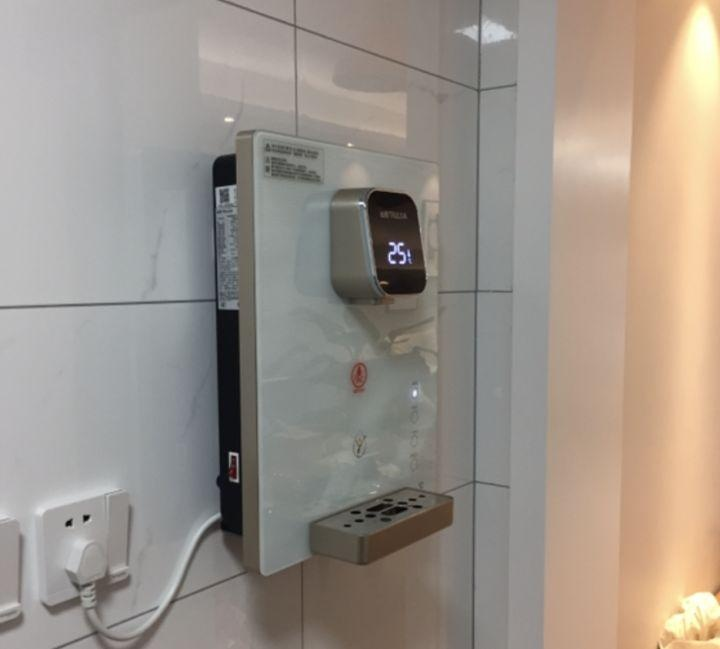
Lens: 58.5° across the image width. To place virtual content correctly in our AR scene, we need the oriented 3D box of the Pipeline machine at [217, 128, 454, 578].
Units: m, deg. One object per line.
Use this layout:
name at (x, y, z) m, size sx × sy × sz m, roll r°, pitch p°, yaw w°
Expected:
Pipeline machine at (0.003, 0.025, 0.833) m, size 0.160 × 0.503 × 0.379 m, roll 6°, pitch 7°, yaw 41°
